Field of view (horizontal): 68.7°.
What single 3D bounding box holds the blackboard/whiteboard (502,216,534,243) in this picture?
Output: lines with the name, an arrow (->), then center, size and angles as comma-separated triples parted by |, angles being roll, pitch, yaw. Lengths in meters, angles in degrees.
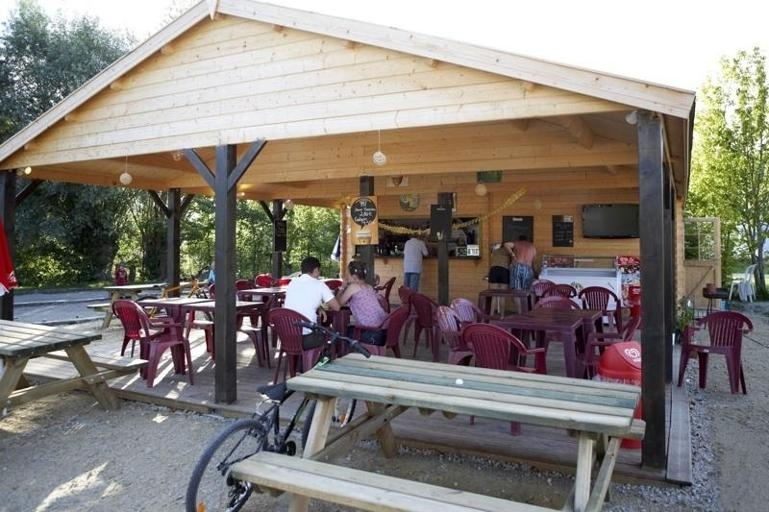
blackboard/whiteboard -> 3.284, -0.679, 13.724 | 0.698, 0.709, 0.069 | 2, 2, 28

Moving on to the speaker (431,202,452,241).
speaker -> 1.172, -0.721, 11.629 | 0.396, 0.710, 0.135 | 1, 1, 17

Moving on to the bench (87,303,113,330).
bench -> -6.264, 1.325, 12.328 | 0.655, 0.632, 0.436 | 1, -2, 12

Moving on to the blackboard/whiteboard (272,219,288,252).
blackboard/whiteboard -> -2.789, -0.545, 14.823 | 0.349, 0.832, 0.248 | 0, 1, -36

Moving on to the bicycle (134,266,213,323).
bicycle -> -5.050, 0.830, 13.180 | 1.499, 0.965, 0.746 | -9, 14, -4
